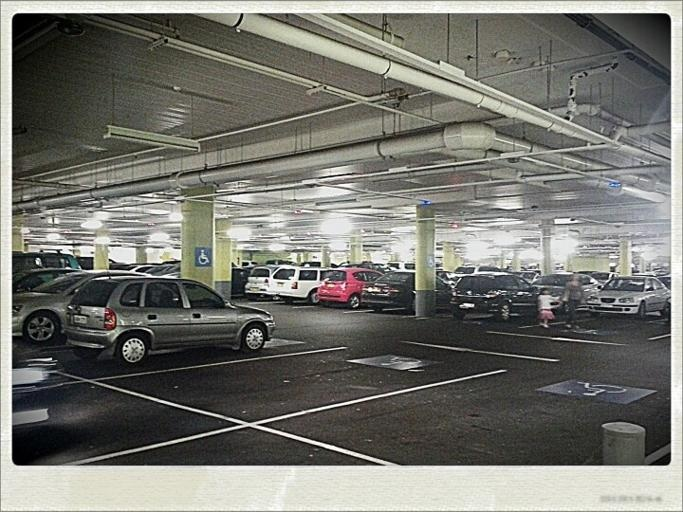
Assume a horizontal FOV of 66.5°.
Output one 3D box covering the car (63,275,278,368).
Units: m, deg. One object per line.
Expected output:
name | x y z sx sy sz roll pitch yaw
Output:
car | -3.831 1.392 11.798 3.773 1.895 0.925 1 -2 -32
